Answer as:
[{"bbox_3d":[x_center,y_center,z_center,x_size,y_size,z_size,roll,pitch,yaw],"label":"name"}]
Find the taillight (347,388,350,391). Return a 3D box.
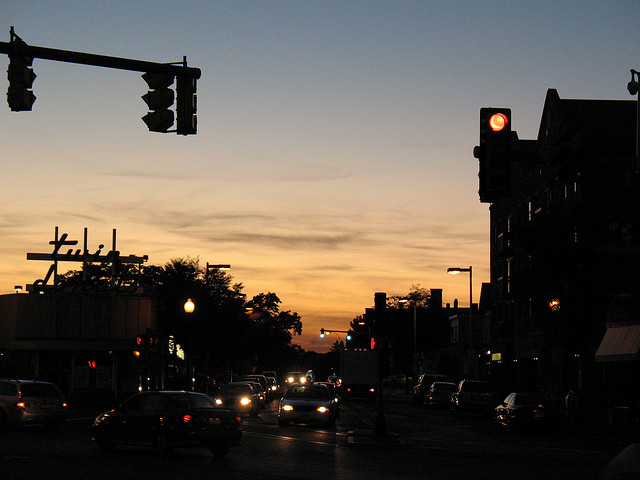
[{"bbox_3d":[1.911,10.023,77.326,0.165,0.150,0.042,-1,-7,-6],"label":"taillight"}]

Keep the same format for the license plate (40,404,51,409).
[{"bbox_3d":[-10.861,6.604,45.770,0.404,0.176,0.066,6,-6,-31],"label":"license plate"}]

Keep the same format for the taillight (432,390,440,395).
[{"bbox_3d":[6.978,9.157,69.393,0.139,0.267,0.461,8,-7,-42],"label":"taillight"}]

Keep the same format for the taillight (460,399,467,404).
[{"bbox_3d":[7.629,8.564,61.311,0.165,0.120,0.641,20,-23,-39],"label":"taillight"}]

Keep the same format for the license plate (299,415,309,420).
[{"bbox_3d":[-0.673,7.571,49.341,0.406,0.201,0.046,4,-5,-10],"label":"license plate"}]

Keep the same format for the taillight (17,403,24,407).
[{"bbox_3d":[-11.737,6.498,45.474,0.229,0.152,0.044,3,-5,8],"label":"taillight"}]
